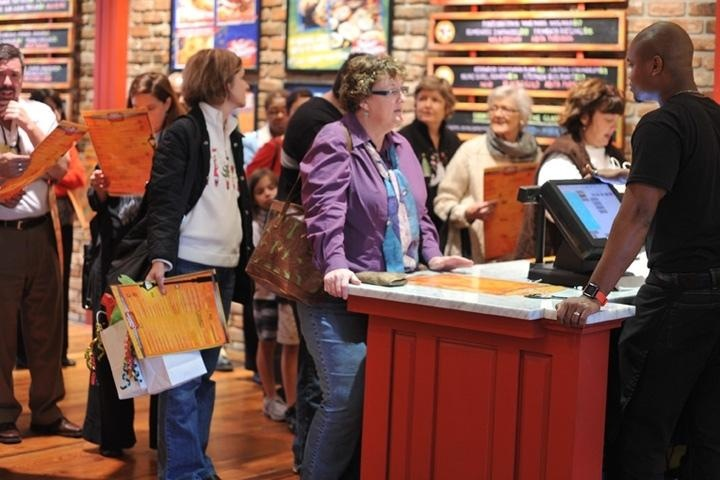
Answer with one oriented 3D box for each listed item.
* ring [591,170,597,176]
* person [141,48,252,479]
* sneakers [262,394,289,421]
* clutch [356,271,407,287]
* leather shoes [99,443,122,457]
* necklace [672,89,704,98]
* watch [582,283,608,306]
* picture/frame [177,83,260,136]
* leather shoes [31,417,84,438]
[{"bbox_3d":[1.215,-0.338,4.063,0.019,0.021,0.020,0,9,0],"label":"ring"},{"bbox_3d":[-0.845,0.135,4.177,0.561,2.253,0.419,-1,7,-12],"label":"person"},{"bbox_3d":[-0.573,1.126,5.272,0.102,0.087,0.198,-14,8,-34],"label":"sneakers"},{"bbox_3d":[0.098,0.180,3.638,0.229,0.048,0.141,5,8,32],"label":"clutch"},{"bbox_3d":[-1.481,1.247,4.666,0.115,0.115,0.064,1,1,-12],"label":"leather shoes"},{"bbox_3d":[1.481,-0.646,3.500,0.083,0.020,0.061,2,4,0],"label":"necklace"},{"bbox_3d":[0.981,0.229,3.271,0.067,0.043,0.067,32,0,-35],"label":"watch"},{"bbox_3d":[-1.092,-1.101,6.689,0.206,0.401,0.418,15,18,41],"label":"picture/frame"},{"bbox_3d":[-1.884,1.180,4.974,0.344,0.141,0.140,0,-3,1],"label":"leather shoes"}]
